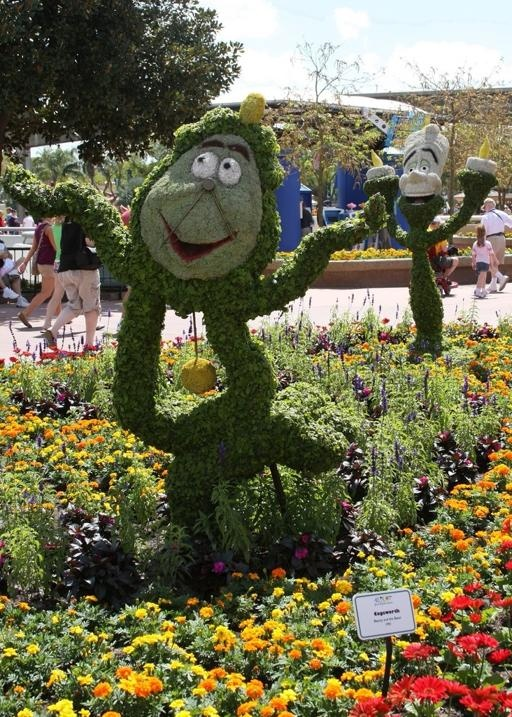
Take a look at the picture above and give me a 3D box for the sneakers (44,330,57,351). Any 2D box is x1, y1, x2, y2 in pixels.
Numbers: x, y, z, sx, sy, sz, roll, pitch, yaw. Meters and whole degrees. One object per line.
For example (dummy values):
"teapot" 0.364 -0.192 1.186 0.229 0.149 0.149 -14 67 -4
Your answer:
"sneakers" -2.094 -0.179 7.880 0.083 0.211 0.086 -14 -11 15
